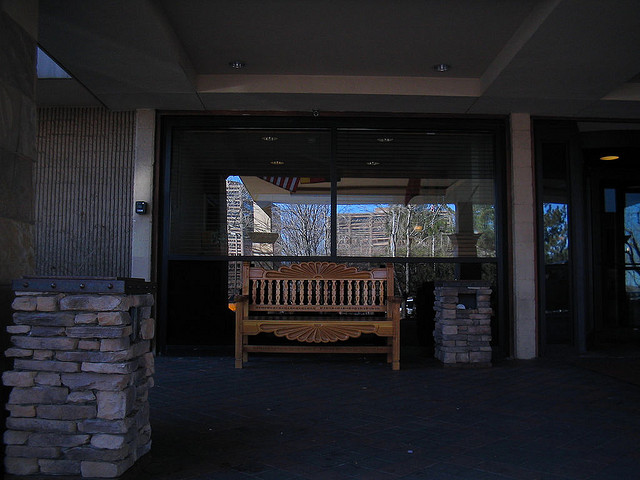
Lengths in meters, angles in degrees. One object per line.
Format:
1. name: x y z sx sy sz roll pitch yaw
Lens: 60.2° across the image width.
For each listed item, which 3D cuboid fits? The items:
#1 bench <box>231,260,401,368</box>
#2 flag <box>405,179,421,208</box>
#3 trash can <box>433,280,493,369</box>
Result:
1. bench: -0.027 0.892 6.767 1.953 1.244 0.776 1 -3 -4
2. flag: 1.262 -0.642 7.513 0.210 0.349 0.022 0 -2 10
3. trash can: 1.732 1.007 6.655 0.612 1.016 0.338 0 -2 20
